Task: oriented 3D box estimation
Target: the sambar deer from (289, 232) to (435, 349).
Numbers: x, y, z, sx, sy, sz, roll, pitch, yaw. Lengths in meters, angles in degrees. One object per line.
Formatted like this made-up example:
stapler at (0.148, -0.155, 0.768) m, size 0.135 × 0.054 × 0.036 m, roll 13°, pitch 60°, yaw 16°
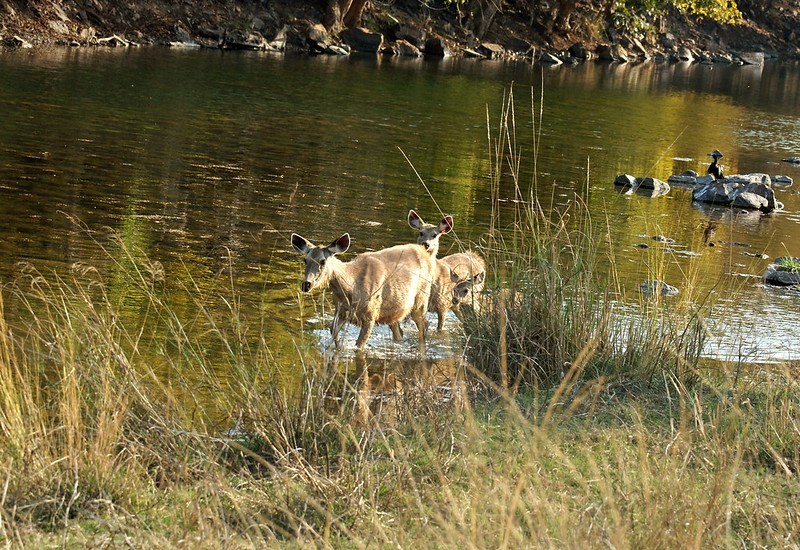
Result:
sambar deer at (-0.432, 0.327, 15.502) m, size 0.941 × 1.651 × 2.510 m, roll 3°, pitch 3°, yaw 37°
